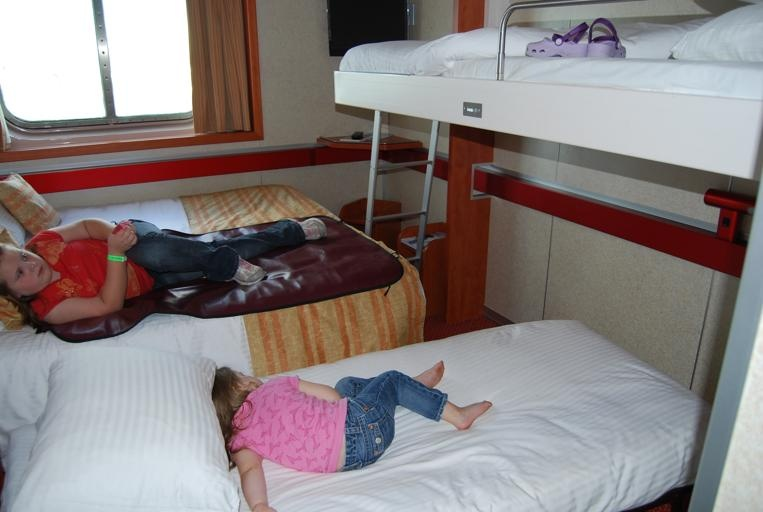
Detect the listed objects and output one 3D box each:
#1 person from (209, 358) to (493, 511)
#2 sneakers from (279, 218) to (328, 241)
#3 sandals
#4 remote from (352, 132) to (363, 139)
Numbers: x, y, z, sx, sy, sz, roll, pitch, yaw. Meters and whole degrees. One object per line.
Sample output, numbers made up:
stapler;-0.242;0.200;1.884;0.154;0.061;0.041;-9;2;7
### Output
person;-0.215;0.700;2.354;0.766;0.269;0.645;-1;13;-11
sneakers;-0.514;-0.193;3.694;0.245;0.136;0.094;6;1;-13
sandals;0.769;-0.858;2.219;0.359;0.147;0.226;9;30;19
remote;-0.207;-1.036;4.777;0.088;0.039;0.113;2;20;1
